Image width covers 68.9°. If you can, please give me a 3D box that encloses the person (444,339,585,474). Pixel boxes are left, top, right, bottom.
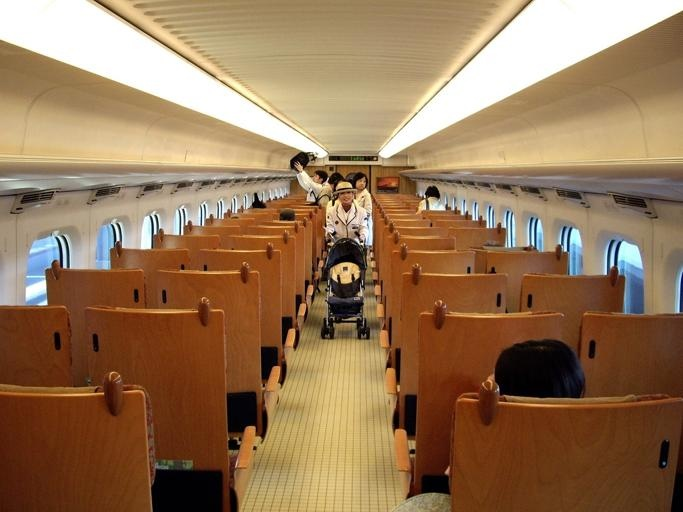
[{"bbox_3d":[0.922,0.753,2.662,0.501,0.728,0.702,2,-8,0],"label":"person"}]

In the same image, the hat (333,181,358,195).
[{"bbox_3d":[0.056,-1.230,8.905,0.285,0.214,0.594,0,10,-3],"label":"hat"}]
